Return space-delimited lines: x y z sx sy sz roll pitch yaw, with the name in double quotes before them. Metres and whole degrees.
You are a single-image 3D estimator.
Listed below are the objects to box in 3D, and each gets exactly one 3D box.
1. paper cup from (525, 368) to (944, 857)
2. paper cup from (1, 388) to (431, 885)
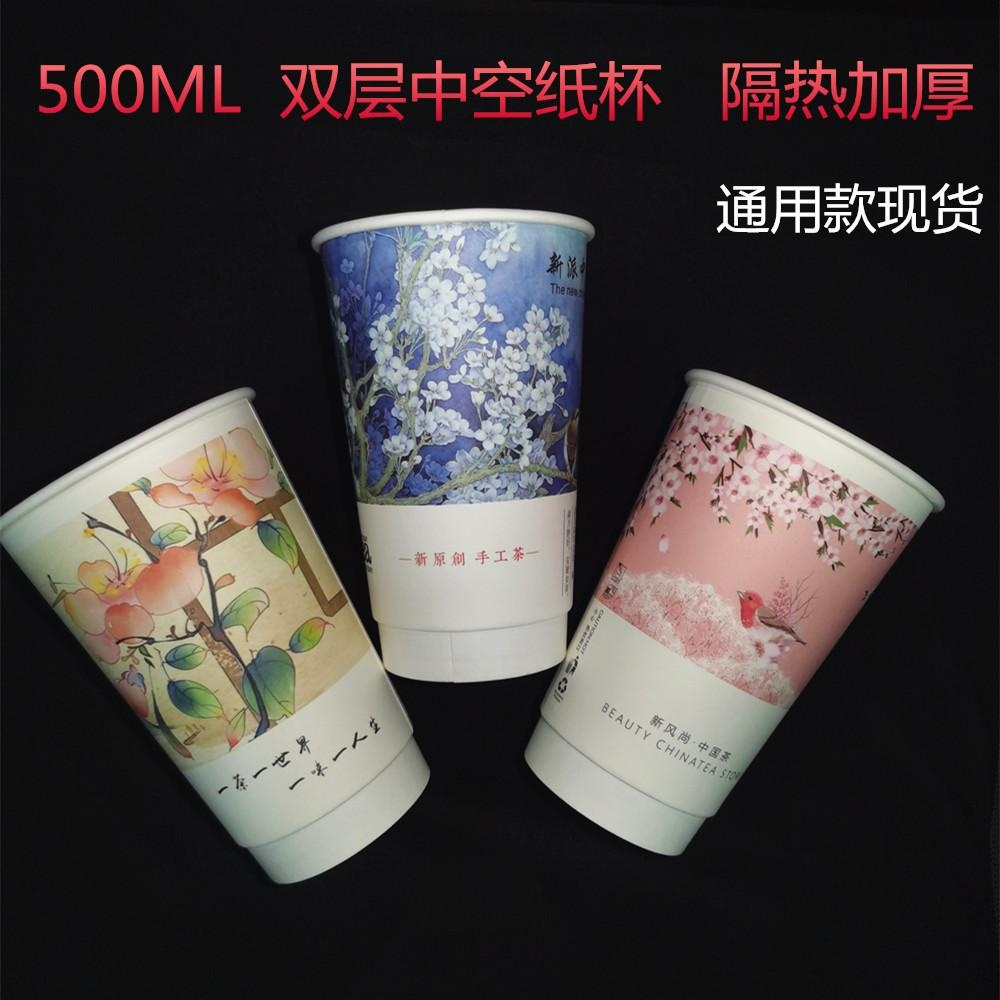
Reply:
"paper cup" 0.223 0.116 0.948 0.268 0.367 0.372 28 50 25
"paper cup" -0.264 0.143 0.935 0.243 0.372 0.374 -34 55 -31
